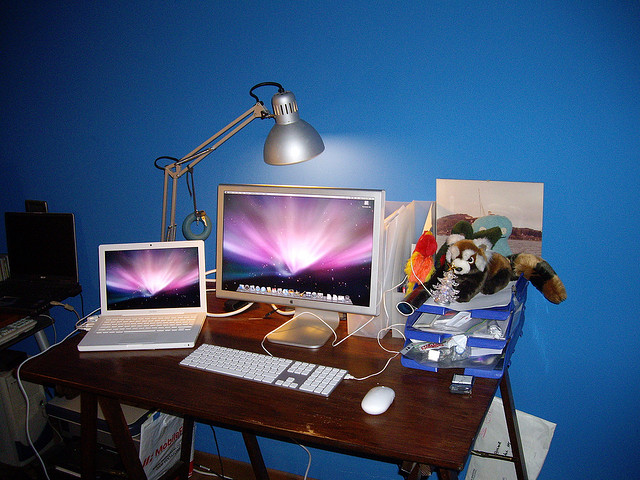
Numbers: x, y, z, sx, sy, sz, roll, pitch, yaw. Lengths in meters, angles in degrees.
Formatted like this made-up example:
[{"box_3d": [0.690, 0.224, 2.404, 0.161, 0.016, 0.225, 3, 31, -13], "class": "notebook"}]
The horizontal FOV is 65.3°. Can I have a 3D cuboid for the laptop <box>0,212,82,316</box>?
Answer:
[{"box_3d": [-1.439, 0.093, 2.436, 0.433, 0.437, 0.324, 4, 9, 18], "class": "laptop"}]

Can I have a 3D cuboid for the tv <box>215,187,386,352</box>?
[{"box_3d": [-0.085, 0.082, 1.860, 0.617, 0.569, 0.275, 4, 16, 15], "class": "tv"}]

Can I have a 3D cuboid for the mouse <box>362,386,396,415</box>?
[{"box_3d": [0.177, 0.488, 1.518, 0.076, 0.053, 0.101, 6, 10, 27], "class": "mouse"}]

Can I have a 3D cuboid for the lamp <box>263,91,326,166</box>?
[{"box_3d": [-0.082, -0.430, 1.924, 0.241, 0.269, 0.250, -11, 26, 16], "class": "lamp"}]

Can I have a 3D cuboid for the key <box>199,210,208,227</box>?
[{"box_3d": [-0.513, -0.095, 2.198, 0.033, 0.063, 0.065, -1, 9, -17], "class": "key"}]

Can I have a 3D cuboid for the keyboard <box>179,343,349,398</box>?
[{"box_3d": [-0.198, 0.432, 1.667, 0.563, 0.063, 0.115, 5, 9, 17], "class": "keyboard"}]

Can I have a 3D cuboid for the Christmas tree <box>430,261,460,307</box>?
[{"box_3d": [0.416, 0.140, 1.685, 0.119, 0.149, 0.119, 18, 1, 17], "class": "Christmas tree"}]

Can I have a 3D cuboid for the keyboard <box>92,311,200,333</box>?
[{"box_3d": [-0.671, 0.315, 1.919, 0.385, 0.052, 0.134, 2, 9, -1], "class": "keyboard"}]

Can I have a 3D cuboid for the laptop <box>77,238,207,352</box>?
[{"box_3d": [-0.649, 0.201, 1.861, 0.416, 0.311, 0.344, -2, 10, -11], "class": "laptop"}]

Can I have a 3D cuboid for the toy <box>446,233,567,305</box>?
[{"box_3d": [0.642, 0.093, 1.739, 0.413, 0.210, 0.200, 2, 20, 10], "class": "toy"}]

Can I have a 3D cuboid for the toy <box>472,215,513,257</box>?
[{"box_3d": [0.684, 0.008, 1.978, 0.150, 0.226, 0.145, -3, -3, 18], "class": "toy"}]
